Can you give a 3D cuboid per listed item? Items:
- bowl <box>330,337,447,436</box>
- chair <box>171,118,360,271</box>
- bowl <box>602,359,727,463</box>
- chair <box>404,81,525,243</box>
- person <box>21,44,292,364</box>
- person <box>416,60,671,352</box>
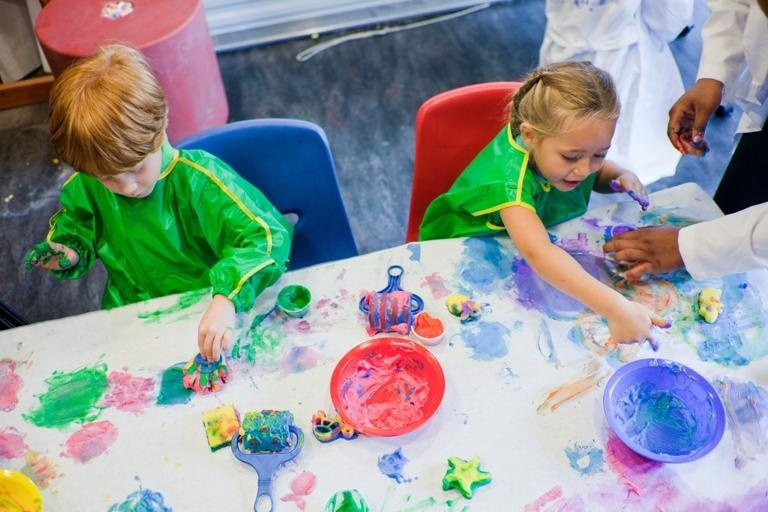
[{"bbox_3d":[0.008,0.377,1.989,0.322,0.125,0.258,-3,41,3],"label":"bowl"},{"bbox_3d":[-0.436,-0.166,2.417,0.370,0.530,0.467,-3,76,-27],"label":"chair"},{"bbox_3d":[0.782,0.437,1.950,0.328,0.135,0.263,4,42,10],"label":"bowl"},{"bbox_3d":[0.237,-0.371,2.459,0.357,0.681,0.431,-6,46,-13],"label":"chair"},{"bbox_3d":[-0.687,-0.193,2.192,0.781,0.774,0.537,20,45,27],"label":"person"},{"bbox_3d":[0.560,-0.243,2.233,0.881,0.578,0.496,30,51,34],"label":"person"}]
